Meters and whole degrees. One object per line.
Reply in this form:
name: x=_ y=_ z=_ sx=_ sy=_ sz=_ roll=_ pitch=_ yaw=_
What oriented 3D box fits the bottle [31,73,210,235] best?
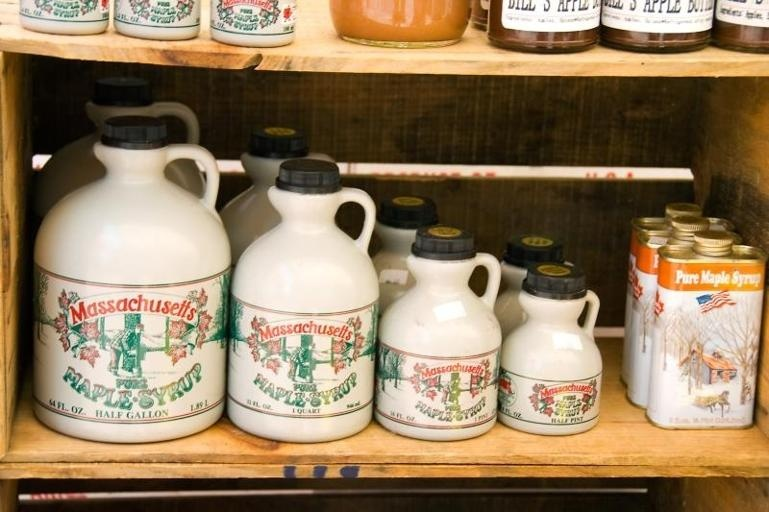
bottle: x=-0.456 y=-0.177 z=1.279 sx=0.306 sy=0.245 sz=0.293 roll=5 pitch=25 yaw=-2

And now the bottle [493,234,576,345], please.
bottle: x=0.211 y=0.048 z=1.251 sx=0.176 sy=0.208 sz=0.164 roll=1 pitch=11 yaw=0

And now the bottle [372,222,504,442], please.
bottle: x=0.088 y=0.117 z=1.129 sx=0.183 sy=0.309 sz=0.164 roll=7 pitch=24 yaw=17

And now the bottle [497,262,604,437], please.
bottle: x=0.266 y=0.150 z=1.196 sx=0.190 sy=0.241 sz=0.171 roll=2 pitch=7 yaw=1

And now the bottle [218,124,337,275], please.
bottle: x=-0.177 y=-0.079 z=1.277 sx=0.234 sy=0.269 sz=0.210 roll=-5 pitch=21 yaw=-14

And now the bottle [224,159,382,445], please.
bottle: x=-0.123 y=0.067 z=1.104 sx=0.214 sy=0.404 sz=0.185 roll=6 pitch=23 yaw=14
